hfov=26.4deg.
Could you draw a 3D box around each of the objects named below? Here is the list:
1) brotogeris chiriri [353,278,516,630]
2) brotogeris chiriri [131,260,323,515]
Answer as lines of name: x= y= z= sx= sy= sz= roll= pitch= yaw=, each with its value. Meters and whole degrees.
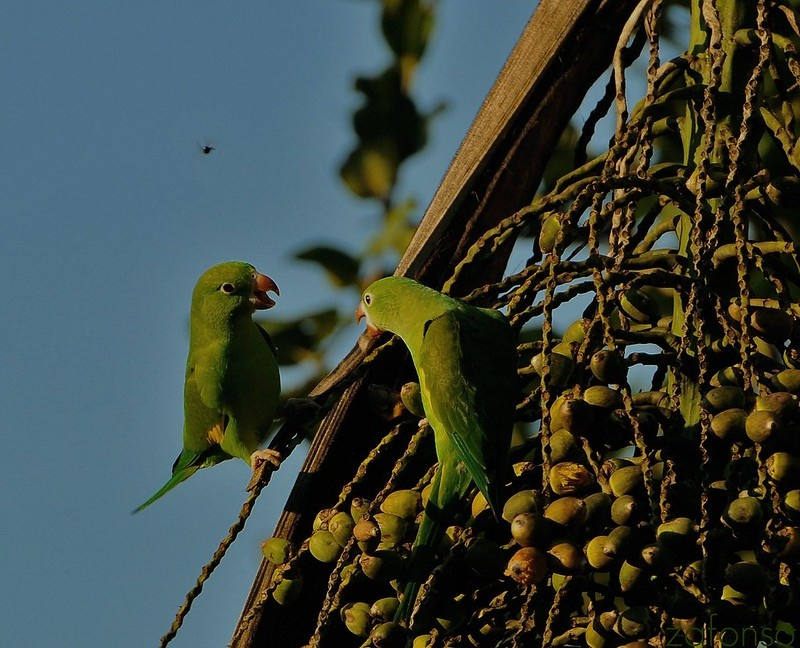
brotogeris chiriri: x=0.067 y=0.254 z=2.990 sx=0.248 sy=0.584 sz=0.142 roll=-11 pitch=-48 yaw=18
brotogeris chiriri: x=-0.344 y=0.140 z=3.897 sx=0.195 sy=0.388 sz=0.608 roll=-21 pitch=-17 yaw=-49
